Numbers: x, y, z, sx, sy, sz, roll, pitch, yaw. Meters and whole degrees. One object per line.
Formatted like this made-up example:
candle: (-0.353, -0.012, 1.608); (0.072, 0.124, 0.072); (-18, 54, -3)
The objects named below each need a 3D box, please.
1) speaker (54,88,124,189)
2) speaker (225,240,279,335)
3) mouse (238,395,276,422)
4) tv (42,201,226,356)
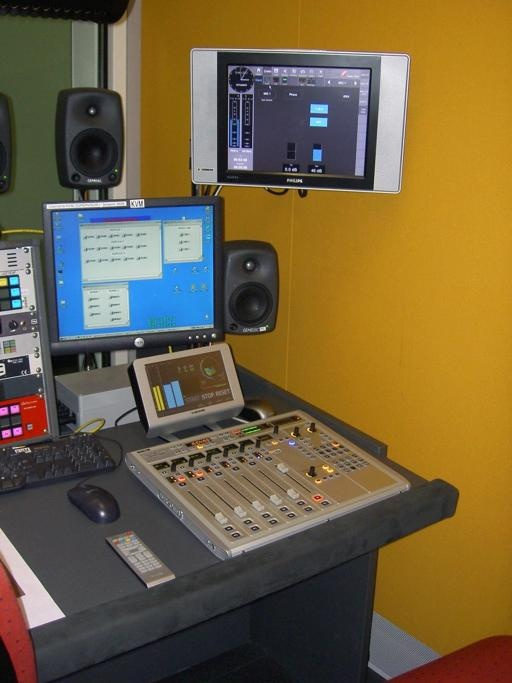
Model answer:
speaker: (-0.395, -0.490, 1.432); (0.157, 0.242, 0.129); (-2, 4, -13)
speaker: (-0.021, -0.159, 1.565); (0.150, 0.255, 0.146); (0, 25, 0)
mouse: (-0.001, 0.167, 1.396); (0.087, 0.032, 0.070); (-1, 18, 2)
tv: (-0.296, -0.158, 1.353); (0.349, 0.300, 0.037); (-9, 24, -21)
